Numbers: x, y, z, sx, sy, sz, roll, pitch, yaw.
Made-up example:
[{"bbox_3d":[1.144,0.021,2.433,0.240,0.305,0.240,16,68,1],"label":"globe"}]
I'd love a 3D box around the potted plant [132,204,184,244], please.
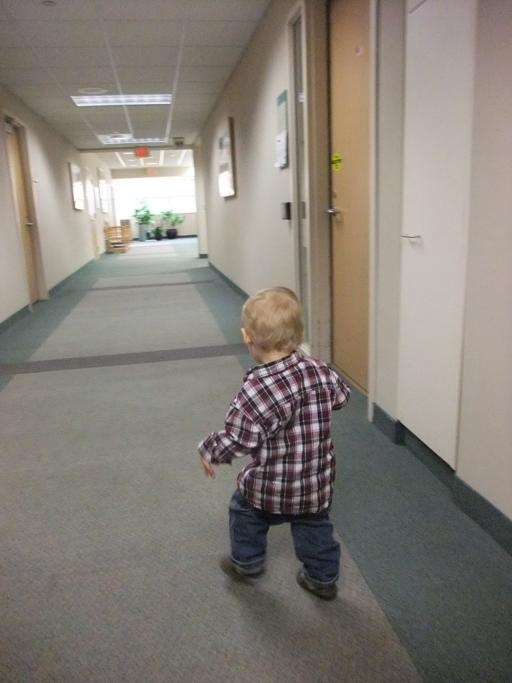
[{"bbox_3d":[-4.328,-5.091,21.013,1.653,1.304,1.681,6,15,12],"label":"potted plant"}]

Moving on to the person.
[{"bbox_3d":[0.051,0.269,1.191,0.348,0.797,0.287,0,10,10],"label":"person"}]
